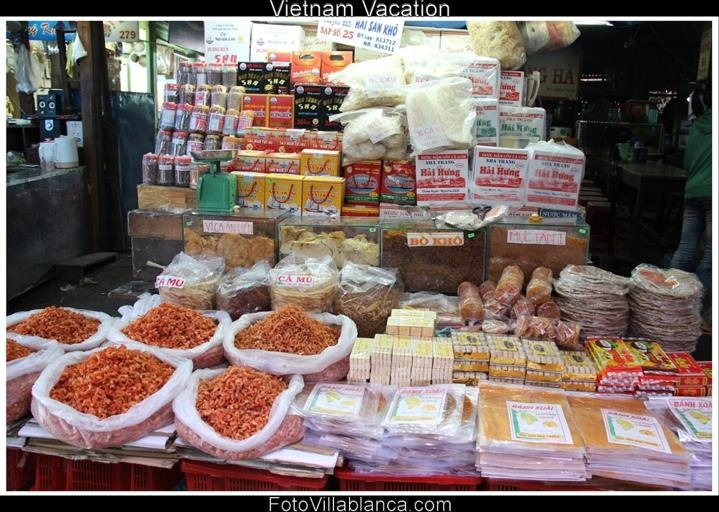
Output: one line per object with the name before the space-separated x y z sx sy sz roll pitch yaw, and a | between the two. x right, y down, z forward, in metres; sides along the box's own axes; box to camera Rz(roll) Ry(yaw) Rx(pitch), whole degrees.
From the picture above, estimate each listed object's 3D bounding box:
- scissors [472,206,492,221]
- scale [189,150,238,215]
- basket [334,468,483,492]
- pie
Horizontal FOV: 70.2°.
scissors | 0.835 -0.300 3.528 0.121 0.041 0.113 3 35 25
scale | -0.989 -0.518 3.555 0.341 0.397 0.332 13 21 33
basket | 0.235 1.064 2.406 0.701 0.112 0.067 0 18 -1
pie | 1.630 0.319 3.108 0.849 0.460 0.367 1 18 2
